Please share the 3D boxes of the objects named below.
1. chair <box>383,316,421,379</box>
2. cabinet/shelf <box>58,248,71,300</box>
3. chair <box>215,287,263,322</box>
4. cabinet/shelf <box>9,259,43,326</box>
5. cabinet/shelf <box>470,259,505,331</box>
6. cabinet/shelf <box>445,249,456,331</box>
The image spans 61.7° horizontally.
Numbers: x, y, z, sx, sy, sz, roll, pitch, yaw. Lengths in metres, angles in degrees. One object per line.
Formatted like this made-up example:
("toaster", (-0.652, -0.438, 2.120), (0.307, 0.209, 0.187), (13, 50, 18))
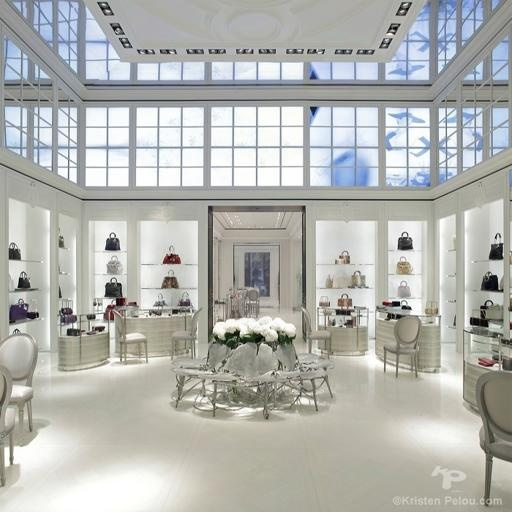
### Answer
("chair", (2.467, 1.461, 7.129), (0.575, 0.998, 0.815), (0, 0, 20))
("cabinet/shelf", (-4.270, 0.371, 9.409), (0.154, 1.114, 0.656), (0, 0, -12))
("chair", (-0.697, 1.707, 15.241), (1.392, 1.872, 1.125), (0, 0, 5))
("cabinet/shelf", (-4.427, 0.708, 8.066), (0.284, 1.177, 1.105), (0, -3, -7))
("cabinet/shelf", (4.134, 0.678, 7.483), (0.289, 1.129, 1.056), (2, -5, 7))
("cabinet/shelf", (4.440, 0.743, 9.619), (0.213, 1.720, 0.411), (0, 0, 24))
